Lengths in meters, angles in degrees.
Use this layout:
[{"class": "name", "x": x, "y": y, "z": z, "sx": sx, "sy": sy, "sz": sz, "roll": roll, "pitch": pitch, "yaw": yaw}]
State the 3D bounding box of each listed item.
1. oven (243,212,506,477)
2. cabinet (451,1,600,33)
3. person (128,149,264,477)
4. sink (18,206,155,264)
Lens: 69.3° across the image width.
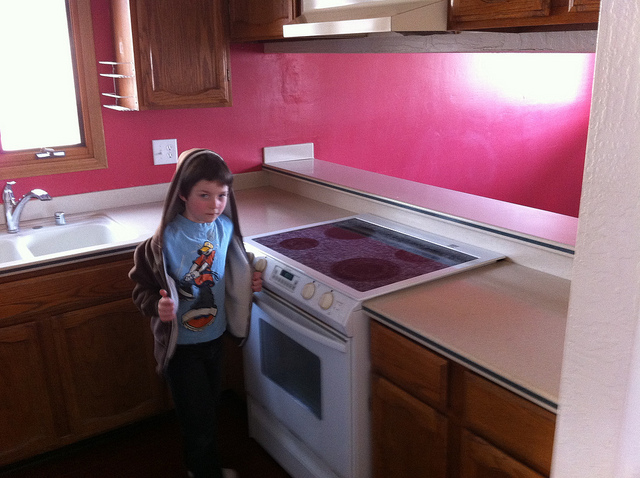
[{"class": "oven", "x": 0.110, "y": 0.300, "z": 2.115, "sx": 0.998, "sy": 1.056, "sz": 0.808, "roll": -11, "pitch": 19, "yaw": -33}, {"class": "cabinet", "x": 0.616, "y": -0.691, "z": 1.392, "sx": 0.138, "sy": 0.102, "sz": 0.483, "roll": -14, "pitch": 23, "yaw": -26}, {"class": "person", "x": -0.444, "y": 0.329, "z": 1.903, "sx": 0.459, "sy": 1.394, "sz": 0.682, "roll": -2, "pitch": 21, "yaw": 5}, {"class": "sink", "x": -1.144, "y": -0.010, "z": 2.251, "sx": 0.347, "sy": 0.169, "sz": 0.408, "roll": -19, "pitch": 33, "yaw": -33}]
